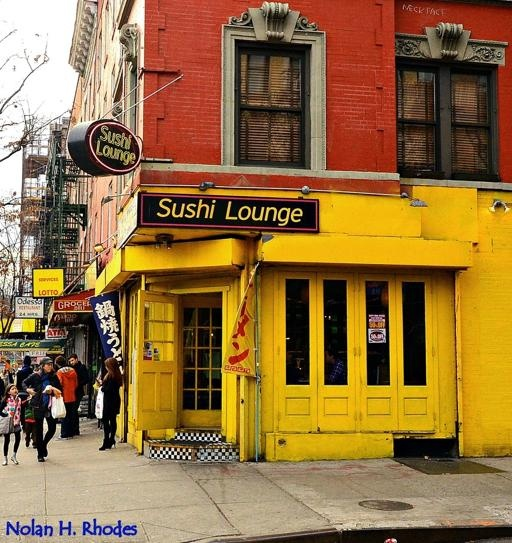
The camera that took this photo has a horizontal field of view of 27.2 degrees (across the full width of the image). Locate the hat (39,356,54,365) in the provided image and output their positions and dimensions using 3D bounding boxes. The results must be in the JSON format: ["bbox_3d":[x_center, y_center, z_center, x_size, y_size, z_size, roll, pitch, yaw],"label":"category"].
[{"bbox_3d":[-3.725,1.589,18.962,0.143,0.121,0.188,-3,-16,-22],"label":"hat"}]

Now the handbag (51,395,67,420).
[{"bbox_3d":[-3.402,2.369,18.306,0.214,0.585,0.807,0,6,-7],"label":"handbag"}]

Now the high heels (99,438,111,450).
[{"bbox_3d":[-2.668,3.114,18.930,0.238,0.211,0.106,2,-5,-12],"label":"high heels"}]

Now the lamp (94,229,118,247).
[{"bbox_3d":[-3.461,-0.792,24.659,0.644,0.307,0.495,-15,-10,37],"label":"lamp"}]
